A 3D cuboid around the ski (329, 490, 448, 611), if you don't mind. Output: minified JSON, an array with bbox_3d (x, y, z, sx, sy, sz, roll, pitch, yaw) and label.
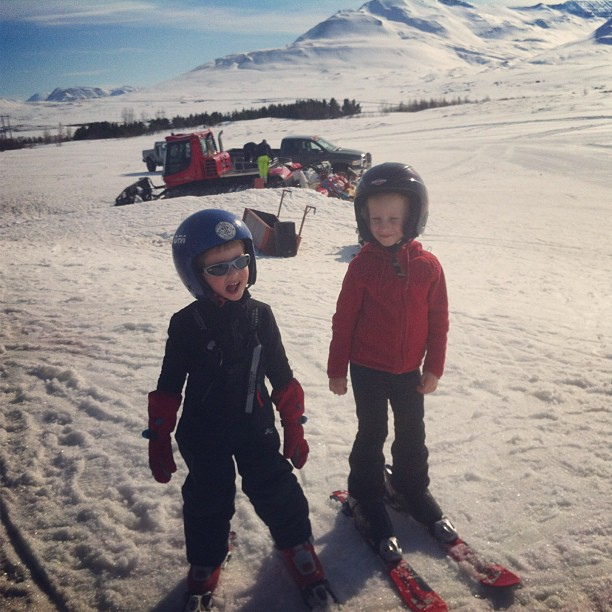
[{"bbox_3d":[0.544,1.428,3.146,0.189,0.113,0.401,-11,19,-22],"label":"ski"}]

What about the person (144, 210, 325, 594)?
[{"bbox_3d":[-0.411,0.490,3.080,0.793,1.877,0.742,-5,20,-3],"label":"person"}]

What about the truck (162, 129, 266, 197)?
[{"bbox_3d":[-2.337,-3.335,14.101,2.586,1.163,1.563,4,19,12],"label":"truck"}]

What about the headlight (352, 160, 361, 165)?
[{"bbox_3d":[1.309,-3.743,15.889,0.238,0.129,0.079,-2,20,2],"label":"headlight"}]

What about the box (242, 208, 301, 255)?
[{"bbox_3d":[-0.569,-1.161,9.300,0.587,0.640,0.932,-9,19,-15],"label":"box"}]
